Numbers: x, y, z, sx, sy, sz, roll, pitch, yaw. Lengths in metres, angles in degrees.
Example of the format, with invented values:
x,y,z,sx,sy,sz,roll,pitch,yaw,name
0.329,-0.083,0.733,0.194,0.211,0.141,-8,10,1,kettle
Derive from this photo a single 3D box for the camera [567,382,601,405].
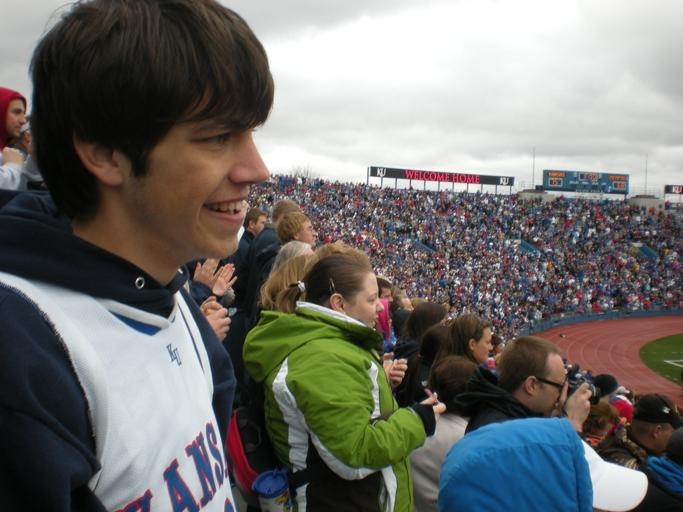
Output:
x,y,z,sx,sy,sz,roll,pitch,yaw,name
1.744,0.995,5.594,0.219,0.210,0.322,-1,-6,3,camera
